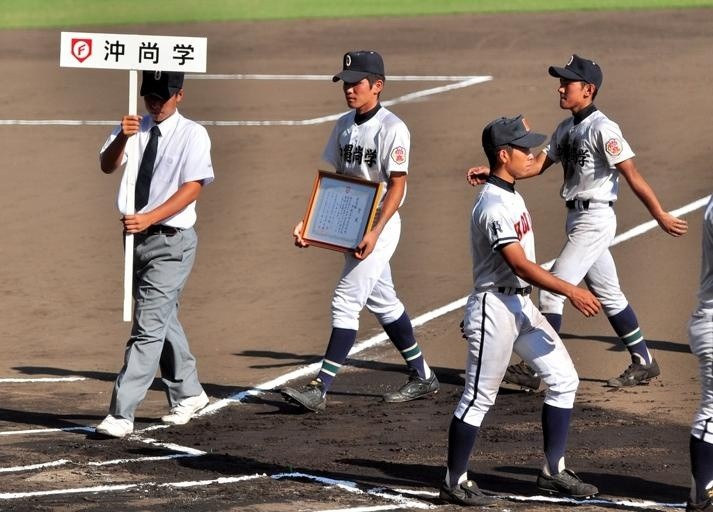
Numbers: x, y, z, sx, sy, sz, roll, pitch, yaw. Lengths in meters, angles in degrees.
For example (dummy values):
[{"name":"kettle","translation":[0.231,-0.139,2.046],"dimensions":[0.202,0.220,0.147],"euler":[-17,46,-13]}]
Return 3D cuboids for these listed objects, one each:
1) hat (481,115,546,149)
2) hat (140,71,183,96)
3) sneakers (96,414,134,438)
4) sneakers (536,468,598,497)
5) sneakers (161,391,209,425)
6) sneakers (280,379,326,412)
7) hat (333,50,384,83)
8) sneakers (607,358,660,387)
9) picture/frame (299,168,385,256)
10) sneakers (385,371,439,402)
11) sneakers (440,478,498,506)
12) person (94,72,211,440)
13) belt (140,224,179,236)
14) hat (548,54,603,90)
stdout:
[{"name":"hat","translation":[1.377,-1.066,10.942],"dimensions":[0.513,0.198,0.290],"euler":[2,17,-5]},{"name":"hat","translation":[-1.915,-1.658,12.187],"dimensions":[0.401,0.262,0.305],"euler":[2,13,-10]},{"name":"sneakers","translation":[-2.323,1.591,11.831],"dimensions":[0.180,0.137,0.354],"euler":[26,4,30]},{"name":"sneakers","translation":[1.889,1.945,10.972],"dimensions":[0.594,0.207,0.206],"euler":[5,7,8]},{"name":"sneakers","translation":[-1.742,1.482,12.400],"dimensions":[0.203,0.197,0.584],"euler":[7,18,37]},{"name":"sneakers","translation":[-0.508,1.362,12.462],"dimensions":[0.273,0.229,0.433],"euler":[36,9,36]},{"name":"hat","translation":[0.055,-1.898,12.691],"dimensions":[0.514,0.227,0.329],"euler":[-6,13,-28]},{"name":"sneakers","translation":[2.946,1.223,13.194],"dimensions":[0.681,0.215,0.219],"euler":[-9,8,-14]},{"name":"picture/frame","translation":[-0.141,-0.464,12.669],"dimensions":[0.924,0.770,0.239],"euler":[17,8,27]},{"name":"sneakers","translation":[0.599,1.327,13.016],"dimensions":[0.674,0.228,0.219],"euler":[-10,19,-12]},{"name":"sneakers","translation":[0.973,1.999,10.836],"dimensions":[0.457,0.146,0.215],"euler":[2,1,16]},{"name":"person","translation":[-1.917,-0.051,12.122],"dimensions":[1.086,3.364,1.247],"euler":[3,14,-11]},{"name":"belt","translation":[-1.902,-0.250,12.060],"dimensions":[0.327,0.121,0.043],"euler":[3,14,-6]},{"name":"hat","translation":[2.376,-1.908,13.139],"dimensions":[0.589,0.258,0.352],"euler":[8,10,-5]}]
